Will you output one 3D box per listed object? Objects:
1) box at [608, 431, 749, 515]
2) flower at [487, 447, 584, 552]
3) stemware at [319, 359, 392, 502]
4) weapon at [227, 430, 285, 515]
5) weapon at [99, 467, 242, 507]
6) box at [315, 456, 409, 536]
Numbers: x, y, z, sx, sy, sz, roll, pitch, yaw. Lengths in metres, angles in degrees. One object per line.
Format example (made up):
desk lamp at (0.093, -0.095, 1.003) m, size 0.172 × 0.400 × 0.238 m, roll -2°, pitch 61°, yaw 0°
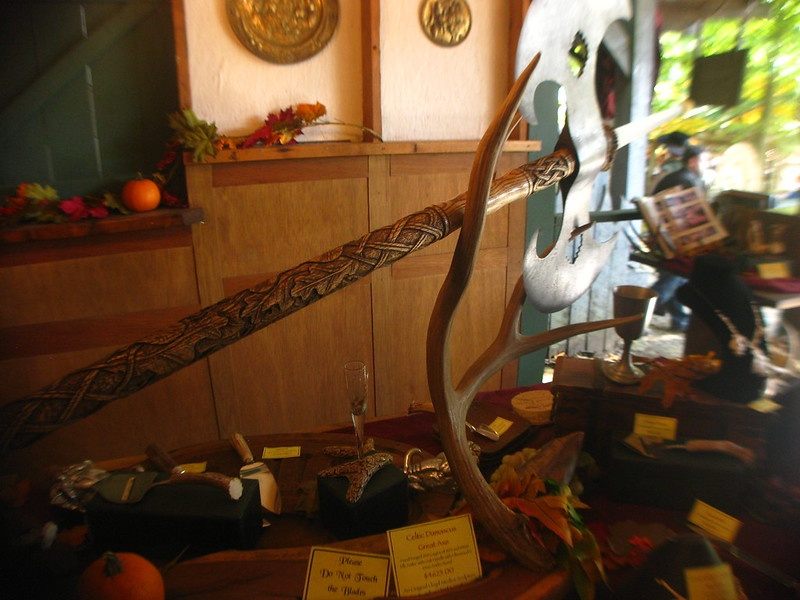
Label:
box at (0.930, 0.498, 2.092) m, size 0.380 × 0.237 × 0.536 m, roll -4°, pitch 9°, yaw 3°
flower at (0.389, 0.546, 1.621) m, size 0.219 × 0.080 × 0.214 m, roll 24°, pitch 8°, yaw -13°
stemware at (-0.127, 0.374, 1.776) m, size 0.293 × 0.316 × 0.324 m, roll -4°, pitch 15°, yaw 0°
weapon at (-0.473, 0.558, 1.978) m, size 0.084 × 0.045 × 0.454 m, roll -5°, pitch 10°, yaw -16°
weapon at (-0.637, 0.521, 1.690) m, size 0.389 × 0.087 × 0.140 m, roll 0°, pitch 11°, yaw 2°
box at (-0.117, 0.537, 1.773) m, size 0.296 × 0.208 × 0.214 m, roll -5°, pitch 6°, yaw -33°
